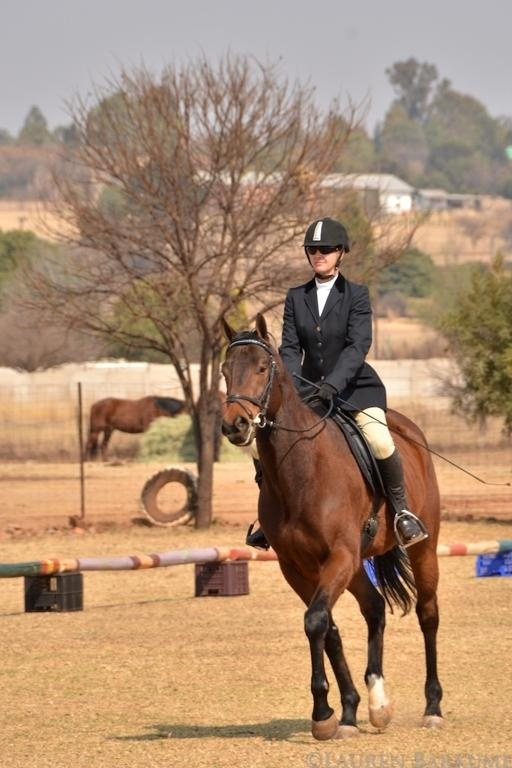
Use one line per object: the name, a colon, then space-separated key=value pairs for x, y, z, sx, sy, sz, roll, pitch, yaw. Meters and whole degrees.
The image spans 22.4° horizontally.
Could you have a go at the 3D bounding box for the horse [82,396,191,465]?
horse: x=-2.591 y=0.821 z=26.111 sx=2.566 sy=1.364 sz=0.537 roll=5 pitch=-7 yaw=-43

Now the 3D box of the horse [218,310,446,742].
horse: x=0.584 y=1.135 z=9.578 sx=1.009 sy=2.864 sz=3.528 roll=-2 pitch=-8 yaw=29

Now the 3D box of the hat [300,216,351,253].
hat: x=0.542 y=-1.103 z=9.400 sx=0.227 sy=0.188 sz=0.309 roll=1 pitch=-5 yaw=24

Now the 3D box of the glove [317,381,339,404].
glove: x=0.514 y=0.048 z=9.214 sx=0.113 sy=0.075 sz=0.147 roll=-1 pitch=43 yaw=-18
